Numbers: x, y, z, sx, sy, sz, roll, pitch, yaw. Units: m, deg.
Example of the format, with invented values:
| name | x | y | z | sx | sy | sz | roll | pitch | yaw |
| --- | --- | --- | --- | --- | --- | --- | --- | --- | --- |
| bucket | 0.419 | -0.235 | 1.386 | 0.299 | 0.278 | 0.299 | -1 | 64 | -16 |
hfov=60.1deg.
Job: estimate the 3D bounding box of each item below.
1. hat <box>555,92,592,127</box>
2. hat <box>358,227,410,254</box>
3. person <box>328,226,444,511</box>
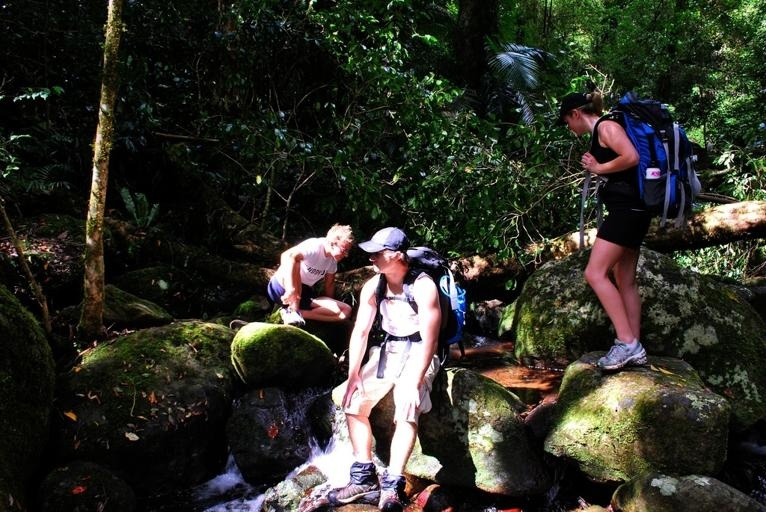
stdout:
| name | x | y | z | sx | sy | sz | roll | pitch | yaw |
| --- | --- | --- | --- | --- | --- | --- | --- | --- | --- |
| hat | 2.363 | -1.832 | 8.224 | 0.383 | 0.219 | 0.291 | -17 | 11 | 36 |
| hat | 0.029 | -0.175 | 7.774 | 0.453 | 0.213 | 0.313 | -2 | 5 | -9 |
| person | 0.082 | 1.260 | 7.674 | 1.076 | 3.001 | 1.117 | 5 | 14 | 7 |
